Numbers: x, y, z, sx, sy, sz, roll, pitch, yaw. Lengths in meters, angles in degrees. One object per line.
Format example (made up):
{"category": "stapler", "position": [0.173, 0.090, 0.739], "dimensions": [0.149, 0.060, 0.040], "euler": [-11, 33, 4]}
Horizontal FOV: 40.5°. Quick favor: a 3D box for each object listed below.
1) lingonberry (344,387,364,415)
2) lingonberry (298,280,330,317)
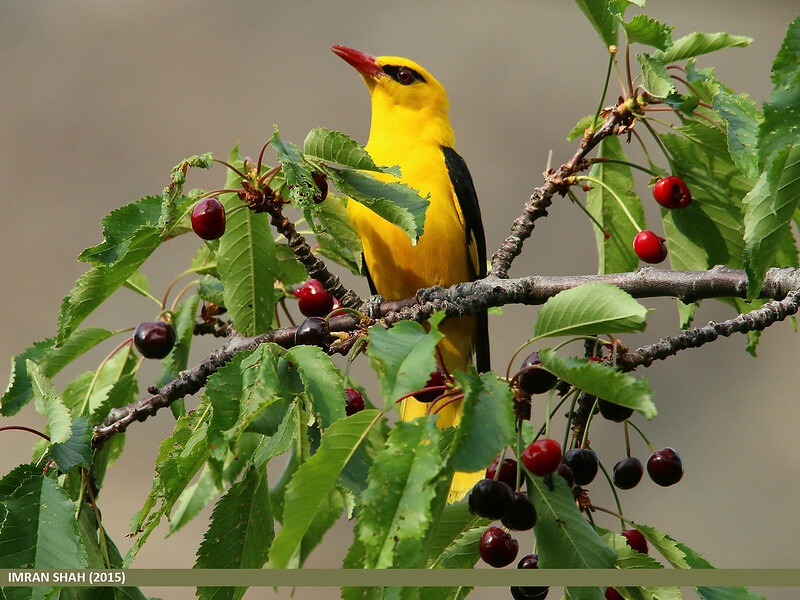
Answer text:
{"category": "lingonberry", "position": [-0.147, 0.332, 3.462], "dimensions": [0.066, 0.072, 0.087], "euler": [-4, -96, 1]}
{"category": "lingonberry", "position": [-0.312, 0.008, 4.080], "dimensions": [0.123, 0.161, 0.130], "euler": [-4, -8, 42]}
